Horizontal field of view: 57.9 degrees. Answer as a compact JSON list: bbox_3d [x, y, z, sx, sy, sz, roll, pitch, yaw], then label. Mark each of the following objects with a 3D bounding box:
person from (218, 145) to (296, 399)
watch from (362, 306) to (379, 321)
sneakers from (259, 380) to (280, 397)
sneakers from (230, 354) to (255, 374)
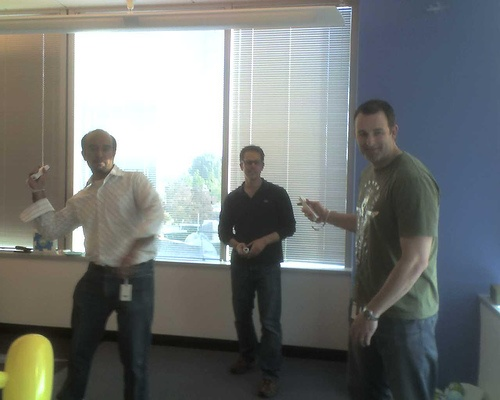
[{"bbox_3d":[0.112,0.530,3.778,0.533,1.918,0.786,-4,11,-28],"label":"person"},{"bbox_3d":[0.623,0.591,2.330,0.071,0.080,0.053,15,43,4],"label":"watch"},{"bbox_3d":[0.149,1.469,3.574,0.158,0.117,0.158,2,11,6],"label":"sneakers"},{"bbox_3d":[-0.062,1.421,3.919,0.203,0.141,0.109,1,-1,-7],"label":"sneakers"}]
